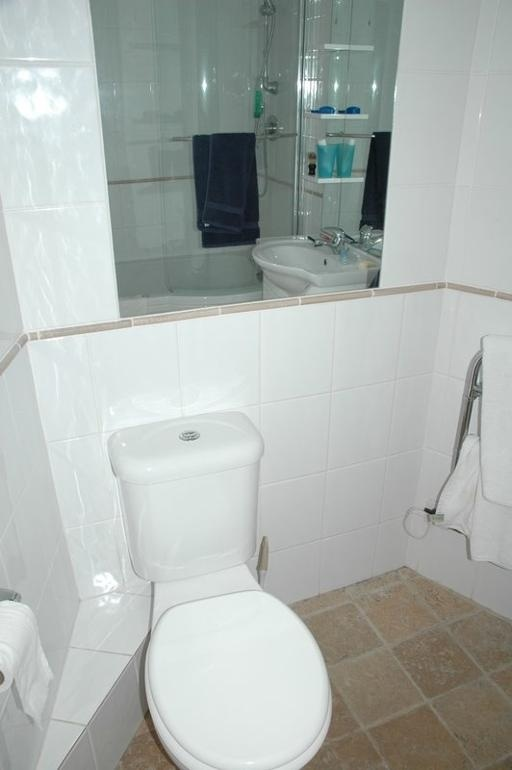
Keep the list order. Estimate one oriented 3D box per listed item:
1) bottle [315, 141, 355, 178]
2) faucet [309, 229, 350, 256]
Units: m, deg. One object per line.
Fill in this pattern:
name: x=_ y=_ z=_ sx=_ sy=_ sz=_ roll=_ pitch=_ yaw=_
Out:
bottle: x=0.177 y=-0.519 z=1.199 sx=0.061 sy=0.059 sz=0.022 roll=-20 pitch=34 yaw=-28
faucet: x=0.182 y=-0.364 z=1.262 sx=0.072 sy=0.044 sz=0.061 roll=26 pitch=35 yaw=21
